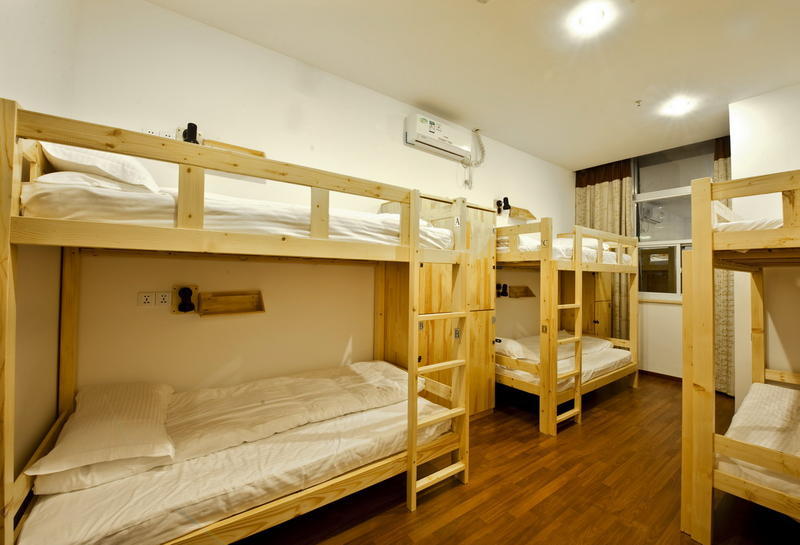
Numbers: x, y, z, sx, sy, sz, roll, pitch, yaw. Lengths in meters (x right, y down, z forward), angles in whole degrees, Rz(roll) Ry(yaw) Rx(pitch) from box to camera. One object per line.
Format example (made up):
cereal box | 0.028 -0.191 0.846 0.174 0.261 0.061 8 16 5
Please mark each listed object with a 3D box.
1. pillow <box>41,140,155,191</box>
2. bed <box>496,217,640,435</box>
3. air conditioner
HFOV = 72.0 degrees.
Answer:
pillow | -2.211 -0.775 4.015 0.790 0.353 0.259 -1 1 -7
bed | 1.801 0.614 5.973 1.258 1.809 2.244 -2 -2 45
air conditioner | 0.463 -1.324 6.043 1.092 0.693 0.304 9 -17 -43
